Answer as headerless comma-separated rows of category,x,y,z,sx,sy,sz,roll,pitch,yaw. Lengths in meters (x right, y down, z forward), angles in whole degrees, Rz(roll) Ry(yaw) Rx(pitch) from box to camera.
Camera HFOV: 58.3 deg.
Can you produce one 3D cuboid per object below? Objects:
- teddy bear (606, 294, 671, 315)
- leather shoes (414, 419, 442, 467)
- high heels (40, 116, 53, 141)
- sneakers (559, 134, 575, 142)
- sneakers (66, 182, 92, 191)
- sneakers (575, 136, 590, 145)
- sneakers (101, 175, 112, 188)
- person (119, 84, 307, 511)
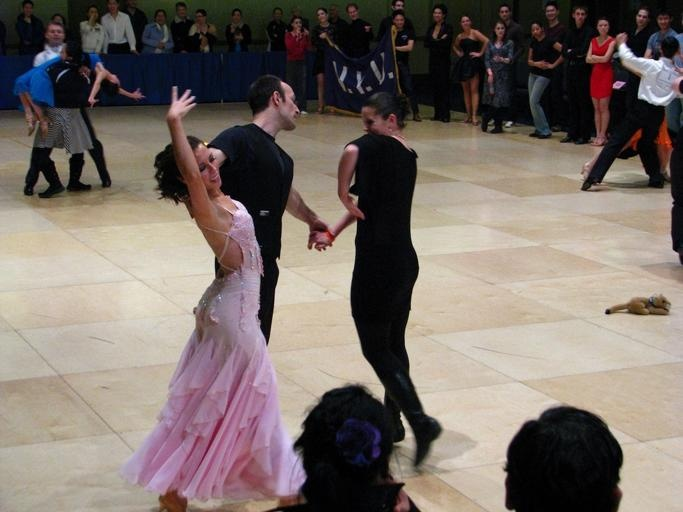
teddy bear,2.933,0.451,6.091,0.684,0.302,0.240,-1,-3,-1
leather shoes,0.512,1.128,3.698,0.119,0.301,0.092,27,-1,-26
high heels,-5.103,-2.197,10.612,0.135,0.439,0.172,-5,18,-21
sneakers,5.571,-2.880,15.018,0.445,0.195,0.154,2,7,25
sneakers,-4.835,-1.281,11.290,0.413,0.165,0.289,-6,15,-24
sneakers,5.808,-2.775,14.799,0.417,0.166,0.146,0,0,-38
sneakers,-4.426,-1.368,11.387,0.103,0.215,0.301,2,22,-2
person,-0.663,0.303,3.143,0.905,2.267,0.665,-1,14,-5
